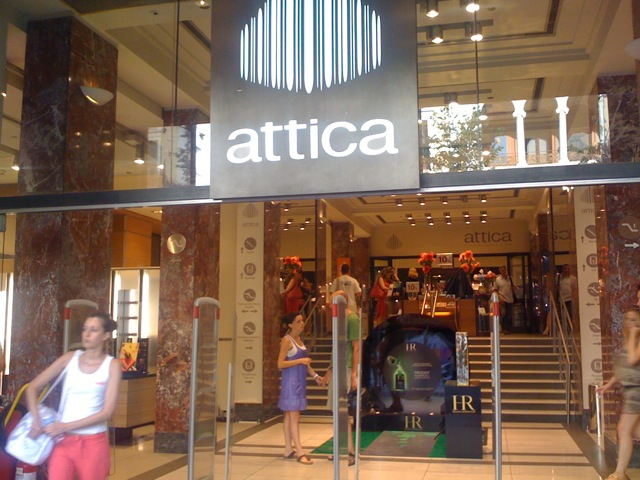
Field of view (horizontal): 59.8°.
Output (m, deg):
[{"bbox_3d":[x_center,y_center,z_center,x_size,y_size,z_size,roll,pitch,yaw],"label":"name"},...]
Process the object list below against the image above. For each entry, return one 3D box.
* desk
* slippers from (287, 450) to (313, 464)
[{"bbox_3d":[-2.766,2.643,8.776,0.595,0.952,1.010,-5,-11,-9],"label":"desk"},{"bbox_3d":[-0.260,2.876,7.348,0.150,0.118,0.401,9,-15,-38],"label":"slippers"}]
